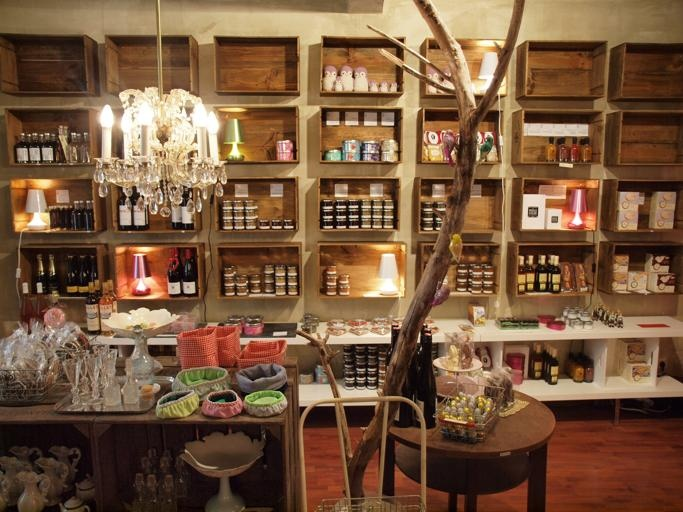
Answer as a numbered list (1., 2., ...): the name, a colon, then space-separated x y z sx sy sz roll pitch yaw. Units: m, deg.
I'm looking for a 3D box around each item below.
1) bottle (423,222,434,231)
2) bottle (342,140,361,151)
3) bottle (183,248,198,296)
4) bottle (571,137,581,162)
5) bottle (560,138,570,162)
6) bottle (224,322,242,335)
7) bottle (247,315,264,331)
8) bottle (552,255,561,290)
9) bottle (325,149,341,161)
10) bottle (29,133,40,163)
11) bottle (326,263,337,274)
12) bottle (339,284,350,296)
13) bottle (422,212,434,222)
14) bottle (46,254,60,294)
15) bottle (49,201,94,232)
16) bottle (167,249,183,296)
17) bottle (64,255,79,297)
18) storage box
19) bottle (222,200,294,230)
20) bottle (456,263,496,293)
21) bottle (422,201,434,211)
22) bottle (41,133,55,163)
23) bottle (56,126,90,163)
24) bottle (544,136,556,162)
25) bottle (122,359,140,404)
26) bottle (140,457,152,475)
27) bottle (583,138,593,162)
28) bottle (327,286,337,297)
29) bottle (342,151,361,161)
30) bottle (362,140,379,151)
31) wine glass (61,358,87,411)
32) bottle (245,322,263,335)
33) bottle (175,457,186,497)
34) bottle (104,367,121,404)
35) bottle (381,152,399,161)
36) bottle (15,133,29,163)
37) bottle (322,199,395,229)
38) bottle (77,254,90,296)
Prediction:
1. bottle: 0.804 -0.275 5.536 0.093 0.064 0.074 0 4 5
2. bottle: 0.077 -1.026 5.512 0.115 0.067 0.113 0 2 0
3. bottle: -1.426 0.146 5.597 0.142 0.432 0.208 -1 4 -14
4. bottle: 2.193 -1.000 5.596 0.093 0.253 0.204 1 4 22
5. bottle: 2.080 -0.999 5.576 0.112 0.221 0.063 -1 4 -14
6. bottle: -0.821 0.542 4.517 0.190 0.085 0.243 1 -7 -2
7. bottle: -0.791 0.602 5.375 0.131 0.108 0.129 1 -2 -5
8. bottle: 2.048 0.161 5.686 0.063 0.343 0.222 2 4 27
9. bottle: -0.073 -0.945 5.552 0.149 0.125 0.126 0 3 6
10. bottle: -2.814 -0.990 5.473 0.112 0.273 0.074 -1 4 -12
11. bottle: -0.099 0.115 5.660 0.095 0.080 0.166 0 3 3
12. bottle: 0.022 0.317 5.668 0.102 0.092 0.101 0 -3 20
13. bottle: 0.803 -0.375 5.543 0.082 0.058 0.080 1 0 0
14. bottle: -2.699 0.158 5.572 0.097 0.361 0.214 -2 4 -24
15. bottle: -2.495 -0.369 5.532 0.303 0.262 0.145 0 -2 3
16. bottle: -1.563 0.140 5.578 0.124 0.445 0.203 -2 4 -18
17. bottle: -2.500 0.173 5.560 0.095 0.367 0.129 -2 4 -20
18. storage box: 0.803 0.975 3.782 0.306 0.286 0.469 2 4 34
19. bottle: -0.790 -0.388 5.574 0.701 0.290 0.247 -1 4 -5
20. bottle: 1.273 0.216 5.653 0.307 0.227 0.301 0 4 0
21. bottle: 0.795 -0.471 5.550 0.095 0.087 0.094 2 2 25
22. bottle: -2.690 -0.986 5.466 0.118 0.265 0.069 -1 4 -10
23. bottle: -2.472 -1.022 5.503 0.329 0.338 0.193 -1 4 -9
24. bottle: 1.960 -0.999 5.584 0.101 0.235 0.116 1 4 17
25. bottle: -1.284 0.759 3.627 0.097 0.259 0.157 -3 4 -30
26. bottle: -1.231 1.318 3.768 0.059 0.136 0.103 -1 4 -17
27. bottle: 2.280 -0.985 5.560 0.078 0.225 0.099 1 4 14
28. bottle: -0.096 0.321 5.593 0.086 0.079 0.085 1 -3 0
29. bottle: 0.085 -0.920 5.550 0.119 0.078 0.117 0 -2 0
30. bottle: 0.270 -1.040 5.525 0.146 0.107 0.161 0 3 0
31. wine glass: -1.626 0.749 3.639 0.112 0.292 0.225 -2 4 -26
32. bottle: -0.798 0.653 5.403 0.168 0.114 0.113 -1 3 -10
33. bottle: -1.036 1.423 3.858 0.069 0.281 0.069 0 4 0
34. bottle: -1.394 0.794 3.616 0.123 0.198 0.115 0 4 0
35. bottle: 0.442 -0.924 5.499 0.110 0.076 0.108 0 -1 0
36. bottle: -2.938 -0.990 5.479 0.147 0.272 0.087 3 5 40
37. bottle: 0.153 -0.393 5.537 0.710 0.282 0.146 -1 4 -5
38. bottle: -2.414 0.167 5.555 0.128 0.355 0.089 1 4 16
